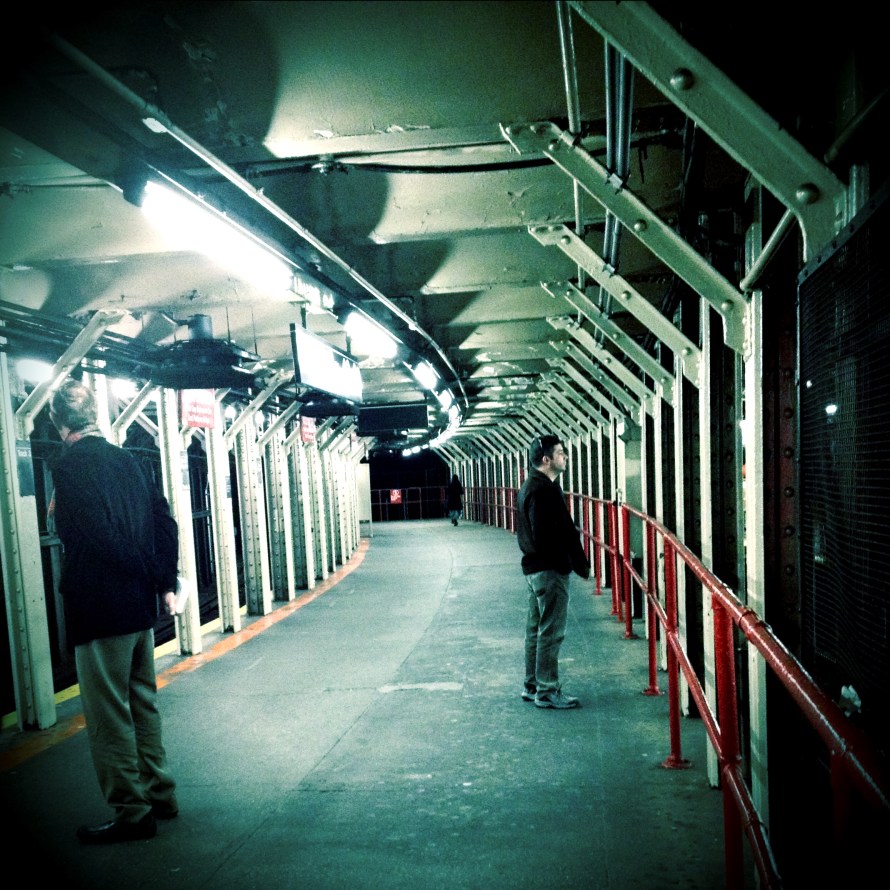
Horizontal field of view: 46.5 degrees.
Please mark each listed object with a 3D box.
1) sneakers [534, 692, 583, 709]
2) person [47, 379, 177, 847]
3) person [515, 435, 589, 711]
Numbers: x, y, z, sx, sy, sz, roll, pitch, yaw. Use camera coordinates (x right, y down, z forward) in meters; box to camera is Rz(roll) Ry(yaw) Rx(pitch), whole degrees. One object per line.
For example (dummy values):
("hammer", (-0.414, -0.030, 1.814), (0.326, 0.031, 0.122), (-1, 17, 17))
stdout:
("sneakers", (0.795, 1.816, 7.295), (0.285, 0.131, 0.121), (0, -5, -1))
("person", (-1.740, 0.869, 5.496), (0.638, 2.403, 0.469), (0, -3, -20))
("person", (0.792, 0.889, 7.501), (0.490, 1.965, 0.844), (-1, -3, 3))
